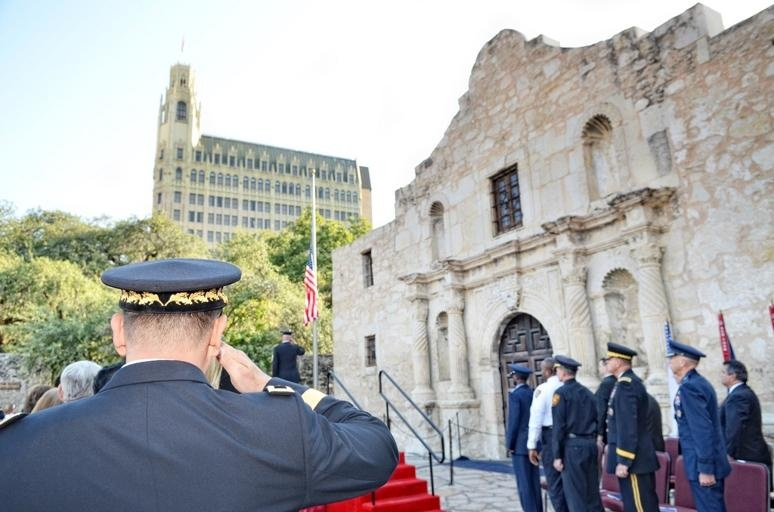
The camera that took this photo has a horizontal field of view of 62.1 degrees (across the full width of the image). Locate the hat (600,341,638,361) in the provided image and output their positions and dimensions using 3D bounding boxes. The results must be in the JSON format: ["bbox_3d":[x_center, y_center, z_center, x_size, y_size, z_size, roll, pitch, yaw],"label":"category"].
[{"bbox_3d":[3.584,1.386,9.694,0.436,0.176,0.368,21,-19,-27],"label":"hat"}]

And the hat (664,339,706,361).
[{"bbox_3d":[4.618,1.454,9.925,0.552,0.250,0.617,21,-14,-40],"label":"hat"}]
